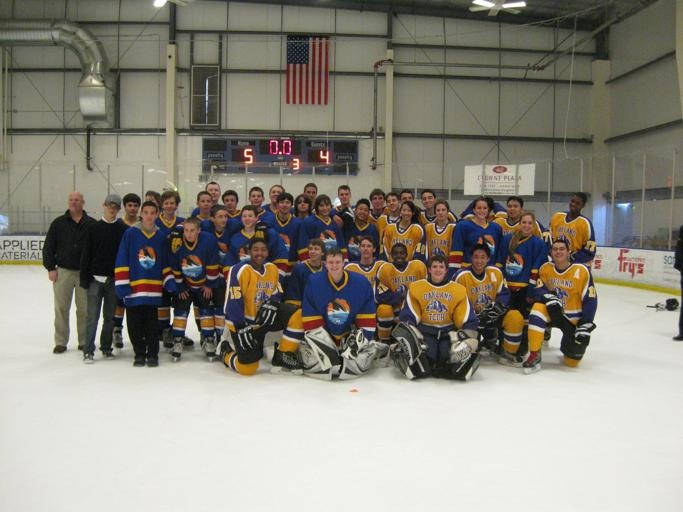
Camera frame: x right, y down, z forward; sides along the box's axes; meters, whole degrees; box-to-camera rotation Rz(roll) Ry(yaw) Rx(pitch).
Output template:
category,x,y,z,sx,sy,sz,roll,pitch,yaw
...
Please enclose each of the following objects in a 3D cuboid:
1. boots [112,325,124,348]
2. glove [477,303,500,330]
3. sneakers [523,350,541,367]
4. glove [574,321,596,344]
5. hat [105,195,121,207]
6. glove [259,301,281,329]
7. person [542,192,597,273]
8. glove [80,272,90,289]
category,x,y,z,sx,sy,sz,roll,pitch,yaw
boots,-3.534,1.240,10.992,0.149,0.331,0.327,-1,3,-17
glove,2.195,0.887,10.508,0.168,0.259,0.409,-26,-13,-20
sneakers,2.810,1.479,10.283,0.378,0.248,0.139,-2,4,-37
glove,3.573,1.106,10.326,0.275,0.298,0.221,1,3,9
hat,-3.376,-0.821,10.276,0.273,0.187,0.196,1,3,3
glove,-1.075,0.813,10.030,0.289,0.348,0.262,0,3,-4
person,3.937,-0.179,12.284,0.812,1.876,0.616,10,8,34
glove,-3.760,0.330,10.173,0.132,0.273,0.199,-2,3,2
